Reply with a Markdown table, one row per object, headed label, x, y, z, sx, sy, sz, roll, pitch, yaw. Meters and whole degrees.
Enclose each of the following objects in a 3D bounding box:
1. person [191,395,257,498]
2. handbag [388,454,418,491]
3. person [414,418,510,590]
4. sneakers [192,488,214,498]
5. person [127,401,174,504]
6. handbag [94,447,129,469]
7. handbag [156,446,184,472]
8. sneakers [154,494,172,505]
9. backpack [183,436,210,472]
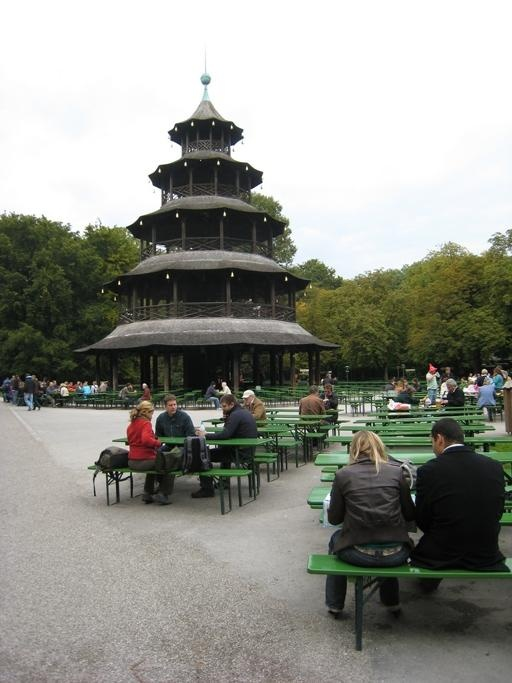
| label | x | y | z | sx | sy | sz | roll | pitch | yaw |
| --- | --- | --- | --- | --- | --- | --- | --- | --- | --- |
| person | -0.429 | 1.419 | 9.329 | 0.865 | 1.344 | 1.029 | -1 | -2 | 3 |
| handbag | 1.089 | 0.941 | 4.813 | 0.232 | 0.260 | 0.303 | 1 | 4 | 15 |
| person | 1.262 | 0.952 | 4.197 | 0.579 | 0.901 | 0.363 | -2 | -2 | 21 |
| sneakers | -0.727 | 2.035 | 8.973 | 0.316 | 0.183 | 0.104 | 7 | -10 | -1 |
| person | -1.358 | 1.423 | 8.576 | 0.582 | 1.295 | 0.904 | -1 | -2 | -10 |
| handbag | -1.865 | 1.516 | 8.635 | 0.400 | 0.284 | 0.347 | 0 | -2 | -11 |
| handbag | -1.067 | 1.465 | 8.203 | 0.329 | 0.282 | 0.323 | 0 | -2 | -11 |
| sneakers | -1.191 | 1.997 | 8.483 | 0.246 | 0.147 | 0.091 | 4 | 7 | -37 |
| backpack | -0.720 | 1.353 | 7.972 | 0.425 | 0.450 | 0.289 | 3 | -15 | -19 |
